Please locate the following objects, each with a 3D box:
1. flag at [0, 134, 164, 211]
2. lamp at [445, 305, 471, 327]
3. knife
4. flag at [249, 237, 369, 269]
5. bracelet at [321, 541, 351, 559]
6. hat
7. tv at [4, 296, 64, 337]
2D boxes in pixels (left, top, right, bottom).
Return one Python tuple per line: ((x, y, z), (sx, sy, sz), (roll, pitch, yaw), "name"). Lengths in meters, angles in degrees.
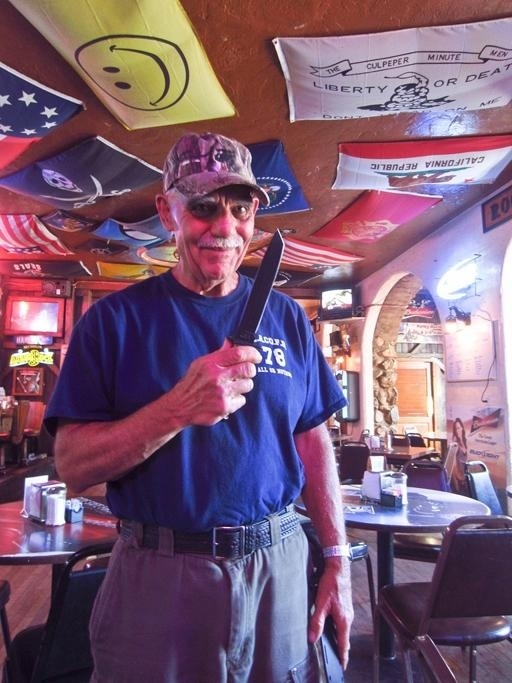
((-1.540, -1.431, 4.386), (1.193, 0.216, 1.428), (3, -11, -32), "flag")
((2.213, -0.279, 5.409), (0.148, 0.196, 0.215), (4, -6, -38), "lamp")
((0.010, -0.103, 1.123), (0.078, 0.340, 0.028), (14, -25, 17), "knife")
((0.783, -1.180, 6.866), (2.166, 0.104, 0.621), (4, -14, -43), "flag")
((0.205, 0.513, 1.246), (0.044, 0.044, 0.043), (6, -20, -13), "bracelet")
((-0.121, -0.398, 1.222), (0.171, 0.131, 0.235), (-1, 3, -30), "hat")
((-4.222, -0.487, 9.319), (0.792, 0.534, 0.079), (3, 0, -7), "tv")
